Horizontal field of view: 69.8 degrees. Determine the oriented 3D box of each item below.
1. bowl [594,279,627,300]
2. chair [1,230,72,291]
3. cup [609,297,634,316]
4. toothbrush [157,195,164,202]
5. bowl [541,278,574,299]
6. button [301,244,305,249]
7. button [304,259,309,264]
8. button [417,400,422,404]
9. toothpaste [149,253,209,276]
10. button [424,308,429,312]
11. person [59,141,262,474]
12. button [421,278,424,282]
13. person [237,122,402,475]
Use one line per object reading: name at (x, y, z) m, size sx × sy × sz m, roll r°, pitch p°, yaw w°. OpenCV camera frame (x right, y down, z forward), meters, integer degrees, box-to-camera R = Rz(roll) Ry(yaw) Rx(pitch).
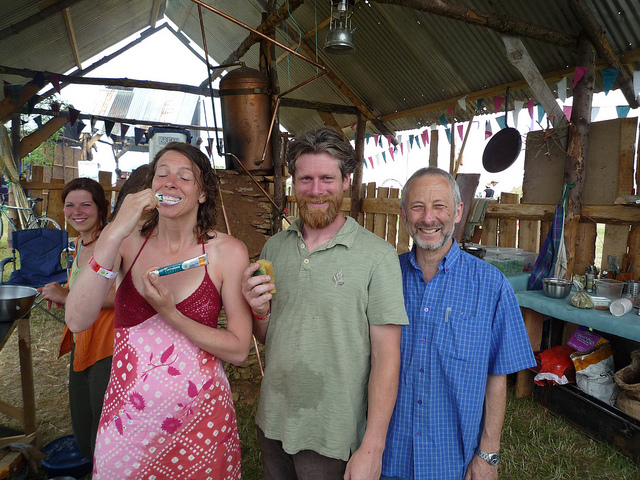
bowl at (3.039, 0.507, 4.839) m, size 0.219 × 0.166 × 0.254 m, roll -2°, pitch 6°, yaw -24°
chair at (-4.017, 0.271, 6.535) m, size 0.696 × 1.174 × 0.754 m, roll -2°, pitch 3°, yaw -24°
cup at (2.897, 0.626, 4.389) m, size 0.181 × 0.228 × 0.127 m, roll -17°, pitch 2°, yaw -25°
toothbrush at (-1.011, -0.265, 2.902) m, size 0.039 × 0.044 × 0.010 m, roll 14°, pitch 5°, yaw 7°
bowl at (2.570, 0.498, 4.959) m, size 0.198 × 0.130 × 0.220 m, roll 3°, pitch 7°, yaw 23°
button at (-0.112, 0.037, 2.970) m, size 0.025 × 0.031 × 0.009 m, roll -7°, pitch 0°, yaw 0°
button at (-0.087, 0.131, 2.924) m, size 0.020 × 0.025 × 0.005 m, roll 1°, pitch -6°, yaw 2°
button at (0.662, 1.065, 3.048) m, size 0.029 × 0.025 × 0.006 m, roll 2°, pitch 5°, yaw 15°
toothpaste at (-0.838, 0.149, 2.812) m, size 0.383 × 0.128 × 0.043 m, roll -17°, pitch 5°, yaw -13°
button at (0.727, 0.470, 3.124) m, size 0.018 × 0.023 × 0.005 m, roll -5°, pitch -11°, yaw 12°
person at (-0.980, 0.464, 2.958) m, size 1.044 × 2.161 × 0.487 m, roll 1°, pitch 5°, yaw 5°
button at (0.713, 0.274, 3.204) m, size 0.012 × 0.019 × 0.005 m, roll 12°, pitch 16°, yaw 8°
person at (0.013, 0.409, 2.939) m, size 0.964 × 2.260 × 0.407 m, roll 2°, pitch 5°, yaw 15°
